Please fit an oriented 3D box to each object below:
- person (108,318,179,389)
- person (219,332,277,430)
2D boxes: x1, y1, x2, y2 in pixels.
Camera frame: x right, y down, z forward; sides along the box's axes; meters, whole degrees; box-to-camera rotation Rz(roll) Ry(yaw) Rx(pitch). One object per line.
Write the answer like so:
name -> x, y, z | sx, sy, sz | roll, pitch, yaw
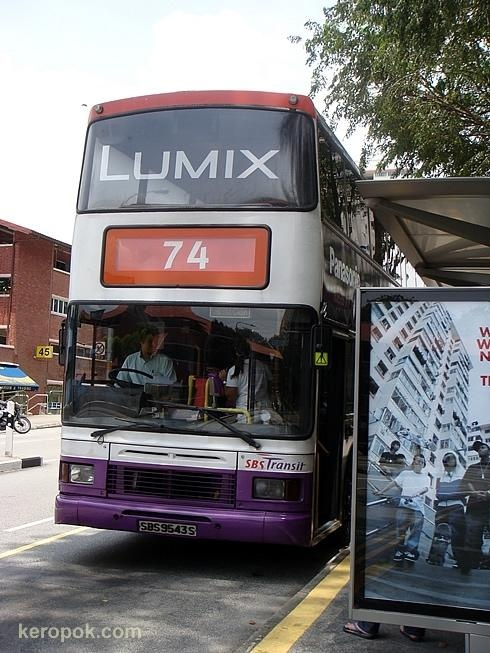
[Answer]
person -> -0.855, 0.338, 5.378 | 0.946, 0.880, 0.514 | 1, -7, 0
person -> 0.068, 0.512, 4.981 | 0.465, 0.848, 0.306 | -14, 18, -20
